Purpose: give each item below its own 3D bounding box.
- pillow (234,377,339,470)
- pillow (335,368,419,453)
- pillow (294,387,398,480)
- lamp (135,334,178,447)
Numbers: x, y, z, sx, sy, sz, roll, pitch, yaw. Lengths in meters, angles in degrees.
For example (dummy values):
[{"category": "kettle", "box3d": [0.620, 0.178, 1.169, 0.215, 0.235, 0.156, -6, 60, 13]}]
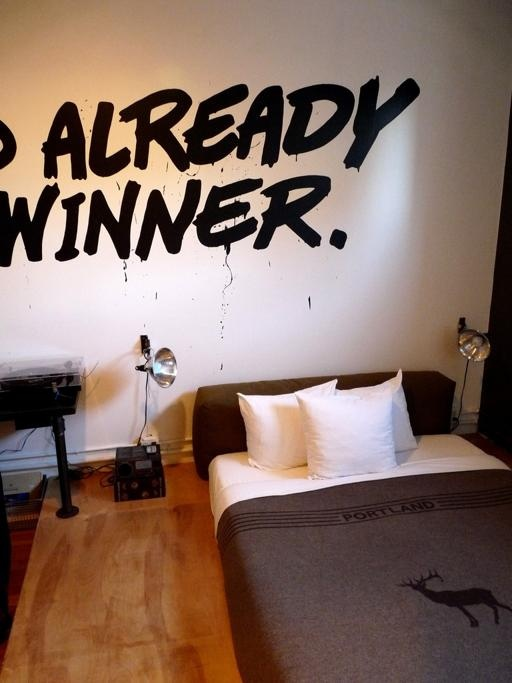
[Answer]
[{"category": "pillow", "box3d": [0.194, 0.440, 2.462, 0.459, 0.453, 0.204, -5, -22, -6]}, {"category": "pillow", "box3d": [0.592, 0.347, 2.429, 0.334, 0.151, 0.369, -13, 28, 4]}, {"category": "pillow", "box3d": [0.398, 0.424, 2.253, 0.276, 0.301, 0.120, -2, -12, -11]}, {"category": "lamp", "box3d": [-0.538, 0.295, 2.723, 0.228, 0.633, 0.370, -4, 11, -14]}]
